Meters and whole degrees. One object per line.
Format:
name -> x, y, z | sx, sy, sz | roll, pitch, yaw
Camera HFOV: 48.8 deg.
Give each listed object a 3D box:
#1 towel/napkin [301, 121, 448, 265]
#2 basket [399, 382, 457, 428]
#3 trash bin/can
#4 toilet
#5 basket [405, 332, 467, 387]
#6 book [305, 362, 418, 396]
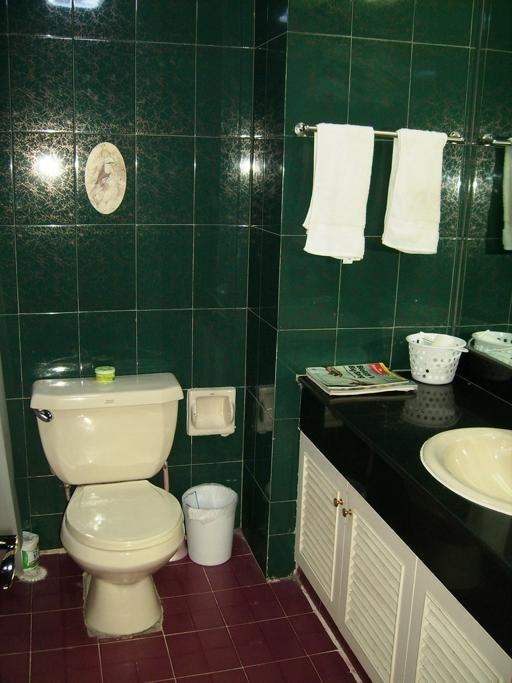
towel/napkin -> 0.329, -0.442, 1.617 | 0.402, 0.411, 0.070 | 1, 24, -10
basket -> 0.488, 0.183, 1.554 | 0.108, 0.060, 0.112 | -7, 11, -30
trash bin/can -> -0.180, 0.709, 2.178 | 0.210, 0.255, 0.218 | 0, 10, -8
toilet -> -0.462, 0.550, 1.878 | 0.462, 0.727, 0.614 | -4, 18, -28
basket -> 0.571, 0.049, 1.803 | 0.159, 0.130, 0.173 | 8, 10, 40
book -> 0.326, 0.112, 1.766 | 0.303, 0.046, 0.260 | -1, 11, -15
